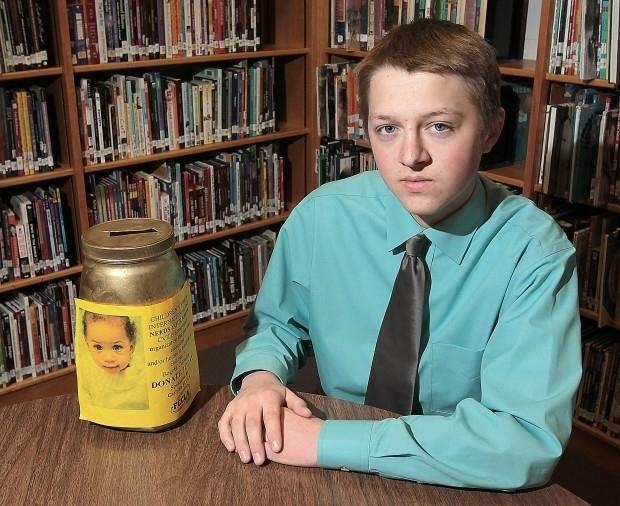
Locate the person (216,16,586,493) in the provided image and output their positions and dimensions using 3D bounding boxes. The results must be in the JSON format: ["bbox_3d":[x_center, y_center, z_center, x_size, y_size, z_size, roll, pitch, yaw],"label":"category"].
[{"bbox_3d":[0.169,0.044,1.075,0.662,0.860,0.604,9,20,27],"label":"person"}]
